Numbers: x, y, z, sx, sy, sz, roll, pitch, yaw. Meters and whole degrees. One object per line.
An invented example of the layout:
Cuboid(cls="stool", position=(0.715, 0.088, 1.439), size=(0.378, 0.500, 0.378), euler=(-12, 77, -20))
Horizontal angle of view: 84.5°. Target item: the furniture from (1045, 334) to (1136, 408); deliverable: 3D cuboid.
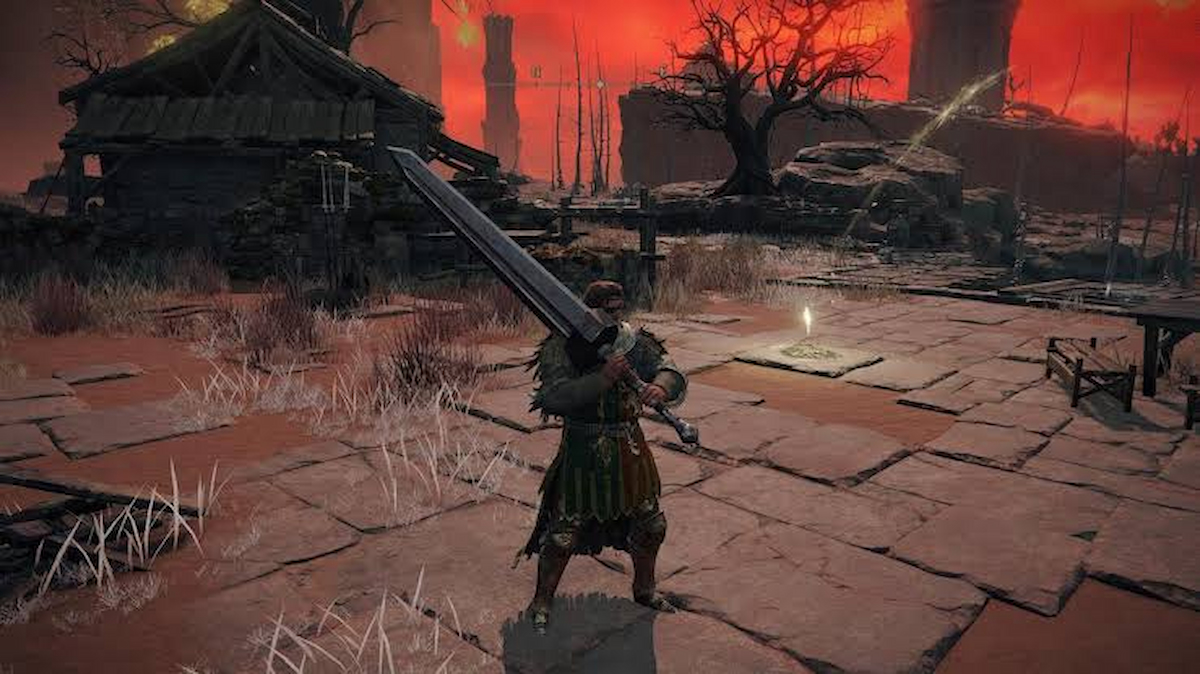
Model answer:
Cuboid(cls="furniture", position=(6.080, 0.446, 8.271), size=(0.735, 0.721, 1.250), euler=(2, 10, 20))
